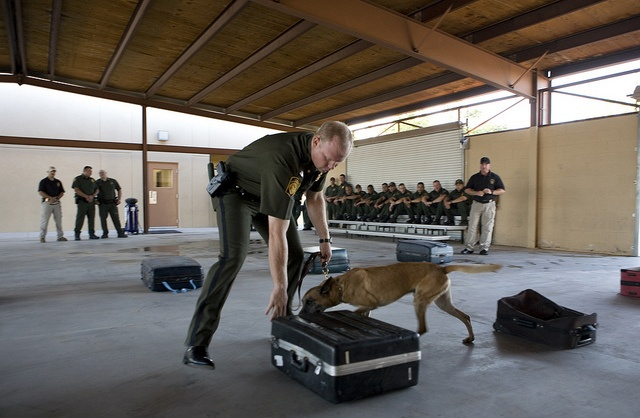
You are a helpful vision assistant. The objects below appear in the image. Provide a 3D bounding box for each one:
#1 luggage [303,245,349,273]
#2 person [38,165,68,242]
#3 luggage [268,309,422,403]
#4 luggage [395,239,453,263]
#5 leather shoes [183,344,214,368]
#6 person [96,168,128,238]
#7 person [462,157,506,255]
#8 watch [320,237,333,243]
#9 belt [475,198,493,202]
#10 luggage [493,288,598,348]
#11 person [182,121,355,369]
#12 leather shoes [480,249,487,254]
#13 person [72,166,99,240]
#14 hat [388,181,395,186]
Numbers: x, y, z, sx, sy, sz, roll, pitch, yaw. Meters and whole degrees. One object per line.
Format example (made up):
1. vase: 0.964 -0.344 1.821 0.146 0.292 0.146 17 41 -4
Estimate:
1. luggage: 0.066 0.963 6.807 0.925 0.389 0.986 -1 -2 4
2. person: -8.771 -0.199 11.949 0.703 2.436 1.442 -3 2 -33
3. luggage: 0.159 1.222 3.179 1.029 0.344 0.974 1 -2 -30
4. luggage: 2.305 0.921 7.915 0.811 0.472 0.819 -2 2 -33
5. leather shoes: -1.049 1.266 3.147 0.314 0.102 0.157 -7 -12 44
6. person: -7.477 -0.198 13.070 0.856 2.379 0.957 -2 2 -26
7. person: 4.221 -0.097 9.494 1.013 2.471 0.866 -1 2 19
8. watch: 0.068 0.320 3.734 0.119 0.046 0.110 5 -7 -41
9. belt: 4.207 -0.221 9.393 0.358 0.146 0.111 0 2 16
10. luggage: 2.354 1.138 3.904 0.664 0.277 0.841 -1 1 -35
11. person: -0.456 0.310 3.271 1.507 2.080 0.742 -1 2 2
12. leather shoes: 4.158 1.066 9.244 0.183 0.127 0.251 0 1 19
13. person: -8.038 -0.243 12.549 0.714 2.488 0.764 -3 2 -28
14. hat: 2.835 -1.003 14.229 0.185 0.128 0.197 -3 -13 9
